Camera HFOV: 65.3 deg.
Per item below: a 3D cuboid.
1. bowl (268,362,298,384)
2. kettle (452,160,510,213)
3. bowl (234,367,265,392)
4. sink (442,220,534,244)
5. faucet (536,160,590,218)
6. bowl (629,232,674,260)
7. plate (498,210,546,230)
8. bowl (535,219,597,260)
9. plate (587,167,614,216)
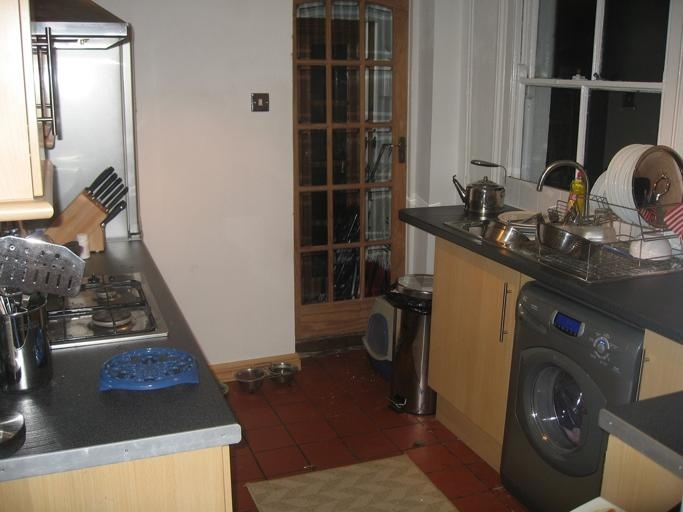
[{"bbox_3d":[-0.406,0.814,3.665,0.198,0.110,0.146,-6,15,-9],"label":"bowl"},{"bbox_3d":[0.856,-0.456,3.390,0.429,0.380,0.258,12,20,39],"label":"kettle"},{"bbox_3d":[-0.613,0.830,3.604,0.202,0.113,0.249,-6,16,-11],"label":"bowl"},{"bbox_3d":[0.770,-0.158,2.816,0.258,0.080,0.536,-9,17,-20],"label":"sink"},{"bbox_3d":[1.074,-0.329,2.565,0.216,0.258,0.349,3,17,24],"label":"faucet"},{"bbox_3d":[1.339,-0.053,2.301,0.121,0.073,0.123,-2,9,0],"label":"bowl"},{"bbox_3d":[0.967,-0.200,2.899,0.167,0.023,0.169,11,20,38],"label":"plate"},{"bbox_3d":[0.971,-0.086,2.317,0.145,0.066,0.158,18,22,-8],"label":"bowl"},{"bbox_3d":[1.286,-0.317,2.667,0.046,0.220,0.212,-2,13,13],"label":"plate"}]
